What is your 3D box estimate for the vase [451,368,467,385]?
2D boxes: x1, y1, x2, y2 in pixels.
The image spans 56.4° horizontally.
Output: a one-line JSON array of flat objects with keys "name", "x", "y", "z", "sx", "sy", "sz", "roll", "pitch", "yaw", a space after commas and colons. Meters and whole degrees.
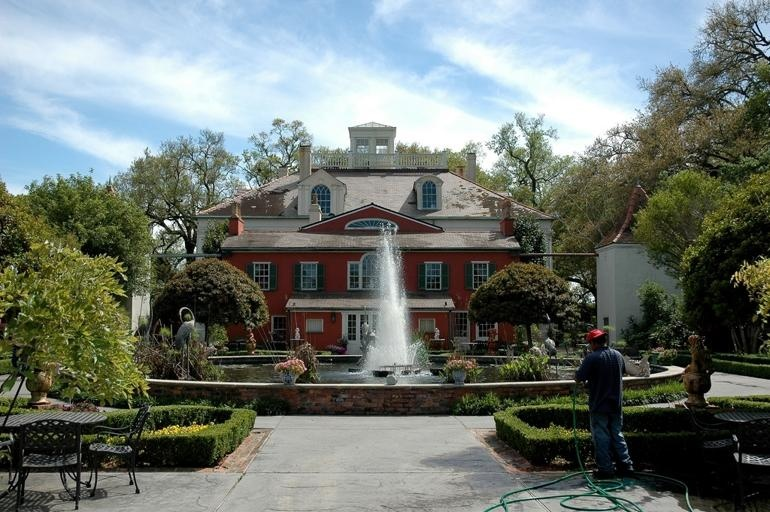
[{"name": "vase", "x": 2.055, "y": 3.393, "z": 20.140, "sx": 0.402, "sy": 0.497, "sz": 0.352, "roll": 0, "pitch": -9, "yaw": 1}]

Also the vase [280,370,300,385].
[{"name": "vase", "x": -2.599, "y": 3.351, "z": 19.661, "sx": 0.371, "sy": 0.284, "sz": 0.416, "roll": 2, "pitch": -13, "yaw": -9}]

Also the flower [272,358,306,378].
[{"name": "flower", "x": -2.574, "y": 3.079, "z": 19.749, "sx": 0.574, "sy": 0.388, "sz": 0.554, "roll": 5, "pitch": -9, "yaw": -24}]

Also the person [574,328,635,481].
[{"name": "person", "x": 4.195, "y": 2.808, "z": 13.779, "sx": 1.070, "sy": 2.755, "sz": 0.590, "roll": 4, "pitch": -8, "yaw": -38}]

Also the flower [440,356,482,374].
[{"name": "flower", "x": 2.081, "y": 3.108, "z": 20.419, "sx": 0.600, "sy": 0.372, "sz": 0.618, "roll": -5, "pitch": -8, "yaw": 31}]

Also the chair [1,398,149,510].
[{"name": "chair", "x": -5.732, "y": 3.675, "z": 13.477, "sx": 2.489, "sy": 1.692, "sz": 2.228, "roll": 1, "pitch": -8, "yaw": -19}]
